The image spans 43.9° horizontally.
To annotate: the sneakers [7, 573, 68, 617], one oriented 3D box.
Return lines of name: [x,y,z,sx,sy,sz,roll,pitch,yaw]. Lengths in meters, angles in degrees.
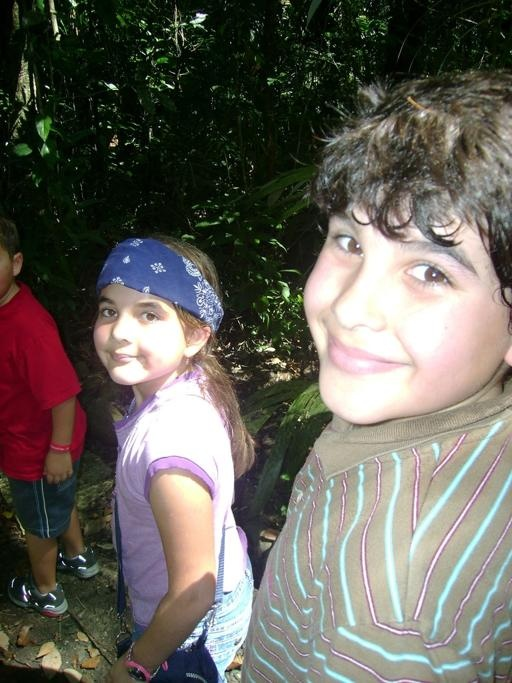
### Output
sneakers: [-0.907,1.054,2.686,0.281,0.120,0.113,15,27,11]

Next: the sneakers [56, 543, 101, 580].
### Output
sneakers: [-0.786,0.994,2.880,0.233,0.090,0.096,8,12,25]

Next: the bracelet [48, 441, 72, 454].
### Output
bracelet: [-0.724,0.399,2.363,0.082,0.049,0.035,-6,27,-34]
